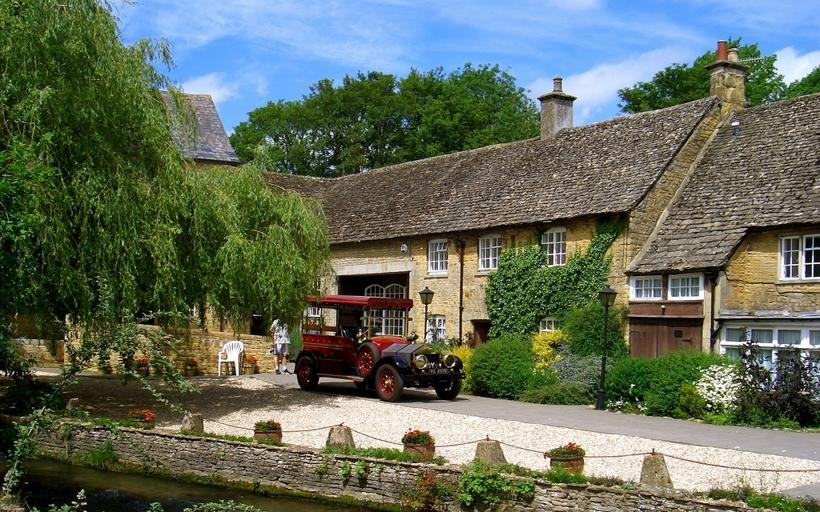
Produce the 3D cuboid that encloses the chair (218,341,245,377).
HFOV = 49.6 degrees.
[{"bbox_3d":[-6.506,3.748,32.377,0.791,1.265,0.919,-3,6,1],"label":"chair"}]

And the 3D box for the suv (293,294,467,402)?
[{"bbox_3d":[-1.089,2.950,28.161,2.706,3.009,5.236,5,-9,-42],"label":"suv"}]

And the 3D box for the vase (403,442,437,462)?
[{"bbox_3d":[0.222,4.365,19.823,0.678,0.296,0.798,1,-3,-2],"label":"vase"}]

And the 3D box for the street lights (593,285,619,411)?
[{"bbox_3d":[6.149,2.812,27.775,0.766,3.962,0.763,3,-3,25],"label":"street lights"}]

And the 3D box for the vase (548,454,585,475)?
[{"bbox_3d":[3.481,4.553,19.201,0.745,0.383,0.883,1,-3,-2],"label":"vase"}]

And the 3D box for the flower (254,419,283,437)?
[{"bbox_3d":[-3.434,4.110,21.285,0.392,0.339,0.404,6,-8,-24],"label":"flower"}]

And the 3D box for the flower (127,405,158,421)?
[{"bbox_3d":[-6.820,4.009,22.272,0.823,0.393,0.653,1,0,0],"label":"flower"}]
